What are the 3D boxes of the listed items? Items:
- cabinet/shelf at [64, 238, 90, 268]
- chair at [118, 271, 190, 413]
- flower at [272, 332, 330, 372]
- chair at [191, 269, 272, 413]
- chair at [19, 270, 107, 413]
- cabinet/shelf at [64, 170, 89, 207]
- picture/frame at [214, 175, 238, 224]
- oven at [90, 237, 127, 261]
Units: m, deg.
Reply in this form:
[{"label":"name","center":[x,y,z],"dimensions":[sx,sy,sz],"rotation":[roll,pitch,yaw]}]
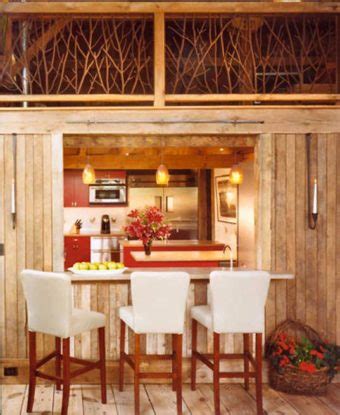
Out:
[{"label":"cabinet/shelf","center":[-1.347,0.634,8.907],"dimensions":[0.361,0.650,0.315],"rotation":[0,-2,-6]},{"label":"chair","center":[-0.142,1.064,5.027],"dimensions":[0.517,1.148,0.734],"rotation":[-1,-1,-8]},{"label":"flower","center":[1.086,1.240,5.282],"dimensions":[0.258,0.214,0.350],"rotation":[-1,1,-5]},{"label":"chair","center":[0.494,1.065,5.090],"dimensions":[0.594,1.153,0.793],"rotation":[-1,-1,-7]},{"label":"chair","center":[-0.859,1.050,4.990],"dimensions":[0.678,1.135,0.740],"rotation":[0,-1,-22]},{"label":"cabinet/shelf","center":[-1.436,-0.315,9.367],"dimensions":[0.421,0.780,0.327],"rotation":[0,2,-8]},{"label":"picture/frame","center":[0.799,-0.122,8.713],"dimensions":[0.018,0.996,0.583],"rotation":[-7,8,-33]},{"label":"oven","center":[-0.967,0.606,9.574],"dimensions":[0.489,0.621,0.373],"rotation":[0,-2,-11]}]
